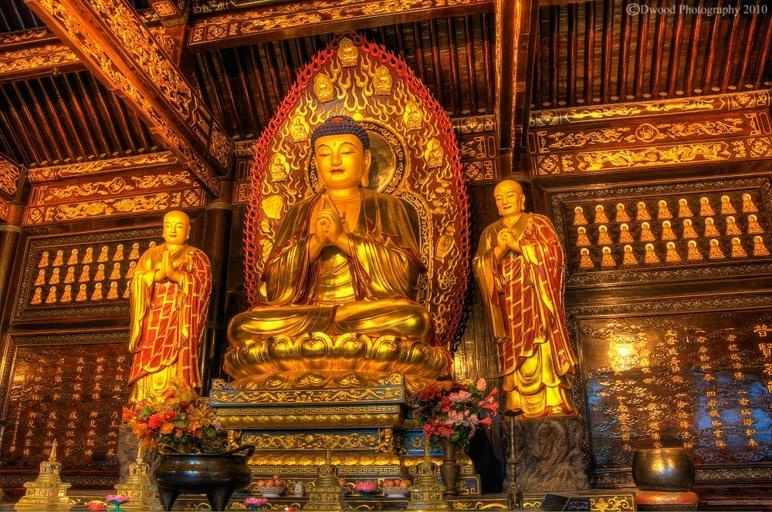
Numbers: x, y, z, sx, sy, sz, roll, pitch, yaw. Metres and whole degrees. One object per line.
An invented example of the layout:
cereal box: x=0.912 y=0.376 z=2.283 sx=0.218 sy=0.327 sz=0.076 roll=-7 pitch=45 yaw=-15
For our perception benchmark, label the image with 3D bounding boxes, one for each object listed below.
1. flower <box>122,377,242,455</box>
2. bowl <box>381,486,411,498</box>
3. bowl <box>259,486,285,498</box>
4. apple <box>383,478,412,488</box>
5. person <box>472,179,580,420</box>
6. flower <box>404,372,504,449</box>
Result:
flower: x=-1.377 y=1.128 z=5.086 sx=0.660 sy=0.459 sz=0.617 roll=18 pitch=-20 yaw=-41
bowl: x=0.062 y=1.493 z=4.905 sx=0.164 sy=0.072 sz=0.115 roll=-1 pitch=-28 yaw=1
bowl: x=-0.735 y=1.500 z=4.950 sx=0.153 sy=0.078 sz=0.101 roll=3 pitch=-28 yaw=-7
apple: x=0.067 y=1.439 z=4.937 sx=0.081 sy=0.030 sz=0.083 roll=-3 pitch=-5 yaw=42
person: x=0.994 y=0.294 z=5.759 sx=0.668 sy=1.795 sz=0.490 roll=-5 pitch=-30 yaw=8
flower: x=0.451 y=1.050 z=5.298 sx=0.540 sy=0.339 sz=0.502 roll=2 pitch=-12 yaw=-12
